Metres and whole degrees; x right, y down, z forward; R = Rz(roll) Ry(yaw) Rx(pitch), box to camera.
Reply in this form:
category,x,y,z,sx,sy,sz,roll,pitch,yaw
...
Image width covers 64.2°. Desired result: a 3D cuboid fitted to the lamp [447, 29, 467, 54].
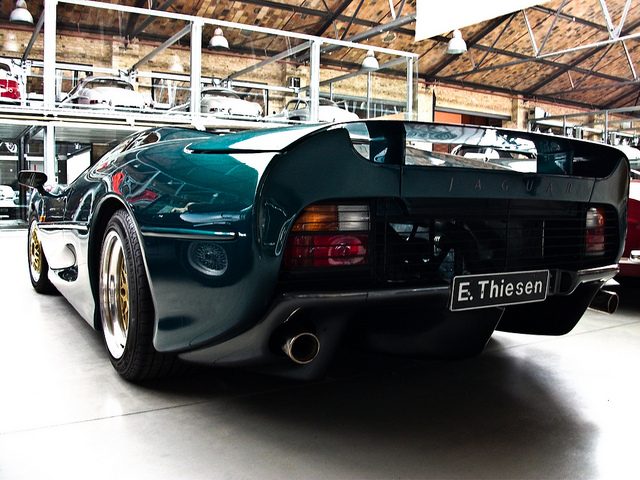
category,x,y,z,sx,sy,sz,roll,pitch,yaw
lamp,3.482,-5.055,13.012,0.428,0.641,0.875,3,10,13

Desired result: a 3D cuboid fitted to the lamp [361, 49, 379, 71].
category,x,y,z,sx,sy,sz,roll,pitch,yaw
lamp,1.350,-4.742,13.556,0.451,0.485,0.484,1,10,5

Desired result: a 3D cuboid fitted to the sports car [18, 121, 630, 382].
category,x,y,z,sx,sy,sz,roll,pitch,yaw
sports car,0.163,0.083,2.234,2.450,1.158,0.943,-1,10,-10

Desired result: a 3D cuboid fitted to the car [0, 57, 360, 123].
category,x,y,z,sx,sy,sz,roll,pitch,yaw
car,-3.190,-3.183,11.241,6.525,1.117,2.507,-5,12,-28
